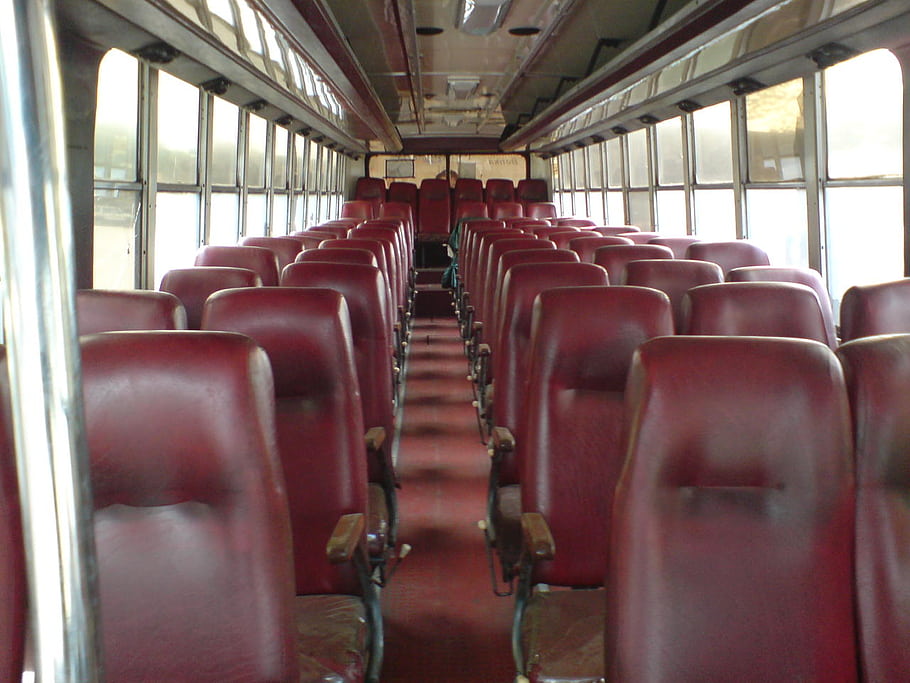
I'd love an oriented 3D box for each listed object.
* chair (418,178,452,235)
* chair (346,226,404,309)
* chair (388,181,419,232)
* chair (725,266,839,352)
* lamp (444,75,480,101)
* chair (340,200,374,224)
[{"bbox_3d":[-0.485,-3.132,17.658,0.697,1.242,1.074,-1,10,-3],"label":"chair"},{"bbox_3d":[-0.731,-0.779,7.430,0.449,0.970,0.527,0,9,-3],"label":"chair"},{"bbox_3d":[-1.224,-3.340,18.435,0.806,1.308,1.039,0,6,2],"label":"chair"},{"bbox_3d":[1.458,-0.166,3.484,0.374,0.547,0.437,0,-4,20],"label":"chair"},{"bbox_3d":[0.126,-4.146,12.359,0.348,0.117,0.528,-2,-3,-11],"label":"lamp"},{"bbox_3d":[-1.889,-2.549,14.785,0.516,0.309,0.592,-2,10,-13],"label":"chair"}]
